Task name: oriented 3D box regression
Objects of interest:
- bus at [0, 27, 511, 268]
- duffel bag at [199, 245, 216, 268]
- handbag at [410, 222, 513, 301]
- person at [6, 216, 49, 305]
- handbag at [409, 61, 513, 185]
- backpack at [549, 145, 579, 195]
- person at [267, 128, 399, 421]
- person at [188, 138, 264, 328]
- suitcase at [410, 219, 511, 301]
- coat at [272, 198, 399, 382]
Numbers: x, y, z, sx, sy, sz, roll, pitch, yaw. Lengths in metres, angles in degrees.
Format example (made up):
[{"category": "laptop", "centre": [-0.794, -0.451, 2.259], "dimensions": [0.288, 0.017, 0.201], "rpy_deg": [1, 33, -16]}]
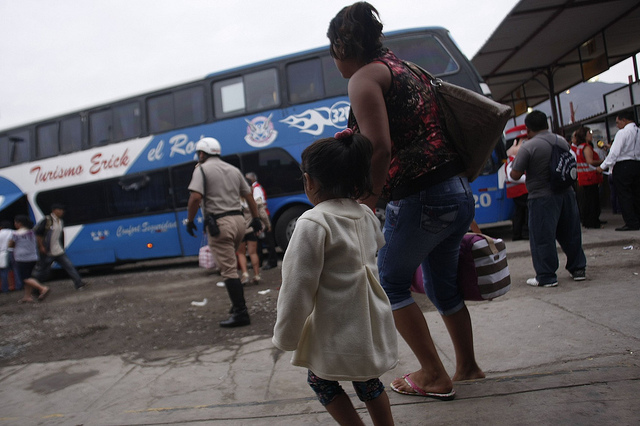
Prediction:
[{"category": "bus", "centre": [-5.784, -1.655, 15.043], "dimensions": [20.150, 6.104, 5.265], "rpy_deg": [-3, 7, 18]}, {"category": "duffel bag", "centre": [-2.255, 0.864, 9.144], "dimensions": [0.219, 0.499, 0.425], "rpy_deg": [-12, 8, -36]}, {"category": "handbag", "centre": [1.360, 0.356, 4.614], "dimensions": [0.578, 0.993, 0.984], "rpy_deg": [-10, 6, -28]}, {"category": "person", "centre": [-6.832, 1.033, 10.592], "dimensions": [0.530, 1.792, 1.034], "rpy_deg": [-12, 8, -34]}, {"category": "handbag", "centre": [1.286, -0.906, 4.195], "dimensions": [0.820, 0.654, 0.325], "rpy_deg": [29, 38, 11]}, {"category": "backpack", "centre": [3.327, -0.605, 6.284], "dimensions": [0.515, 0.661, 0.191], "rpy_deg": [-10, 7, -22]}, {"category": "person", "centre": [0.101, 0.545, 3.717], "dimensions": [0.923, 2.344, 0.493], "rpy_deg": [-8, 6, -1]}, {"category": "person", "centre": [-1.446, 0.239, 6.894], "dimensions": [0.813, 2.752, 0.965], "rpy_deg": [-7, 6, 7]}, {"category": "suitcase", "centre": [1.349, 0.361, 4.616], "dimensions": [0.580, 0.995, 0.991], "rpy_deg": [-9, 6, -33]}, {"category": "coat", "centre": [0.095, 0.635, 3.677], "dimensions": [0.999, 1.462, 0.391], "rpy_deg": [-9, 6, -9]}]
